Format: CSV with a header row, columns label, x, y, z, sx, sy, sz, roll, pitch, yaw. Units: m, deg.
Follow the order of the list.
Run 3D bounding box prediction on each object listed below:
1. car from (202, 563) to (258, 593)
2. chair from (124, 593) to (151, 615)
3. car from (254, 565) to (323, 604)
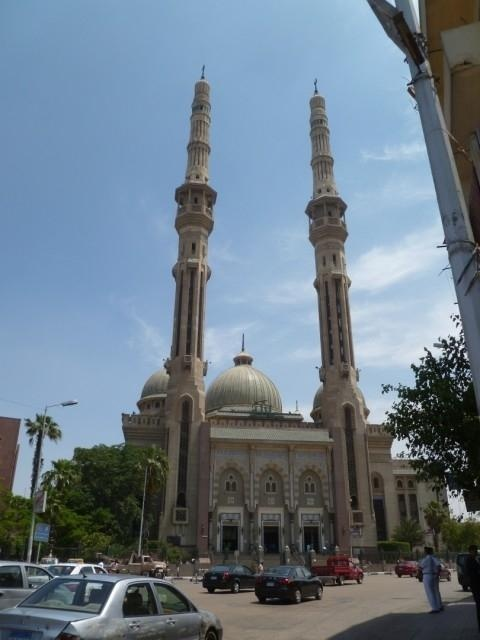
label,x,y,z,sx,sy,sz,roll,pitch,yaw
car,-0.334,11.521,22.227,1.150,0.894,2.612,-9,-34,17
chair,-1.114,3.100,5.544,0.324,0.326,0.201,6,-25,-13
car,1.789,9.467,17.812,1.235,0.928,2.798,-15,-40,23
